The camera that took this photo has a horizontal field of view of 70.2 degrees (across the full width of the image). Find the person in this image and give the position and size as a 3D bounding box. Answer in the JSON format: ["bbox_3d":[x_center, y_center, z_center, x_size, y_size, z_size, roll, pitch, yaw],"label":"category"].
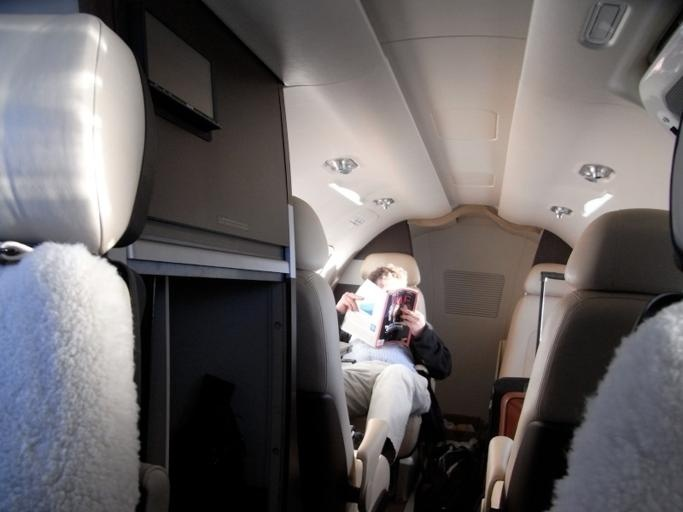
[{"bbox_3d":[0.299,0.604,2.838,0.525,0.786,1.190,1,15,7],"label":"person"}]
